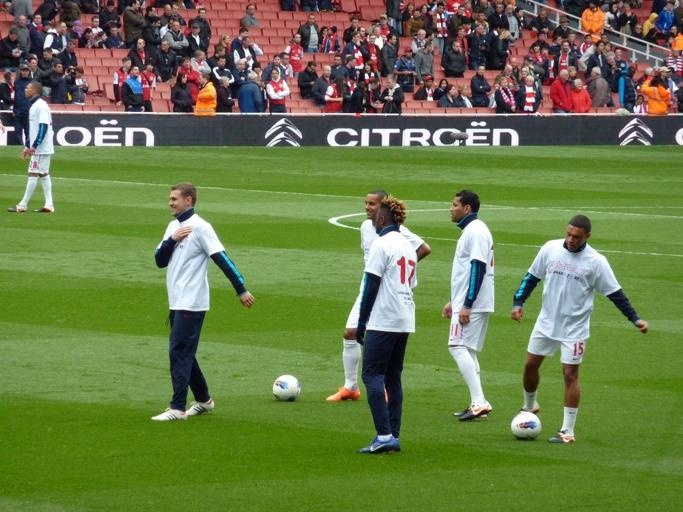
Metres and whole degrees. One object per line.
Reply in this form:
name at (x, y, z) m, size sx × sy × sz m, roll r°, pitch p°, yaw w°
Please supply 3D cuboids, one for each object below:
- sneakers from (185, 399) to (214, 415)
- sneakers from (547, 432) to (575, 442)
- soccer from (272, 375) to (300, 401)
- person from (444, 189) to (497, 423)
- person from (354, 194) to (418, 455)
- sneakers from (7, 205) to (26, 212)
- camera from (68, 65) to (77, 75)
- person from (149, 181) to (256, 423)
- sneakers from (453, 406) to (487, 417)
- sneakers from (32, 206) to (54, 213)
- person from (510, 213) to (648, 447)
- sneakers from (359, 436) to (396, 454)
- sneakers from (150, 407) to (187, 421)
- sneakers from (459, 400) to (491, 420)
sneakers at (-1.983, 2.082, 22.247) m, size 0.468 × 0.187 × 0.153 m, roll -10°, pitch 9°, yaw -18°
sneakers at (3.006, 2.445, 21.615) m, size 0.361 × 0.144 × 0.140 m, roll 1°, pitch -1°, yaw 4°
soccer at (-0.795, 1.864, 22.837) m, size 0.408 × 0.349 × 0.331 m, roll 2°, pitch 9°, yaw -8°
person at (1.825, 0.666, 22.310) m, size 0.770 × 3.148 × 0.815 m, roll 4°, pitch 9°, yaw 3°
person at (0.589, 0.903, 21.094) m, size 0.729 × 3.318 × 0.862 m, roll 5°, pitch 9°, yaw 9°
sneakers at (-6.794, -0.981, 33.065) m, size 0.444 × 0.165 × 0.155 m, roll 4°, pitch 2°, yaw -1°
camera at (-7.246, -4.933, 42.319) m, size 0.218 × 0.192 × 0.230 m, roll 7°, pitch -11°, yaw -43°
person at (-2.060, 0.616, 22.052) m, size 1.129 × 3.195 × 0.932 m, roll 2°, pitch 9°, yaw -9°
sneakers at (1.802, 2.154, 22.382) m, size 0.503 × 0.190 × 0.167 m, roll -1°, pitch -2°, yaw 8°
sneakers at (-6.300, -0.979, 33.328) m, size 0.397 × 0.150 × 0.132 m, roll 3°, pitch 2°, yaw 4°
person at (3.073, 0.950, 21.652) m, size 1.494 × 3.015 × 0.717 m, roll 6°, pitch 9°, yaw 11°
sneakers at (0.513, 2.474, 20.950) m, size 0.559 × 0.256 × 0.197 m, roll -2°, pitch -4°, yaw 6°
sneakers at (-2.426, 2.158, 21.975) m, size 0.488 × 0.197 × 0.176 m, roll 1°, pitch -2°, yaw -6°
sneakers at (1.870, 2.155, 22.244) m, size 0.363 × 0.135 × 0.268 m, roll -17°, pitch -5°, yaw -2°
